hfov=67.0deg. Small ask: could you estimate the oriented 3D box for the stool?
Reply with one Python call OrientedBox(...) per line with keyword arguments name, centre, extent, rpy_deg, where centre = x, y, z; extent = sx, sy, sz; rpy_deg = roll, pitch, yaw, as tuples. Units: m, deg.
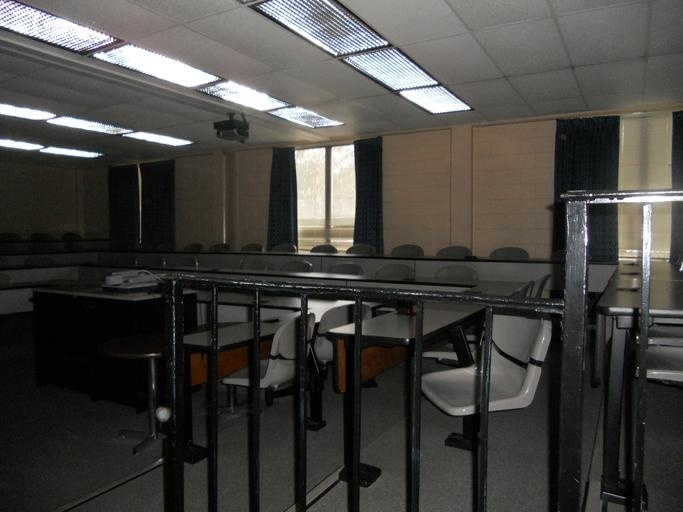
OrientedBox(name="stool", centre=(-1.386, 1.004, 3.778), extent=(0.645, 0.715, 0.680), rpy_deg=(-1, -1, -24))
